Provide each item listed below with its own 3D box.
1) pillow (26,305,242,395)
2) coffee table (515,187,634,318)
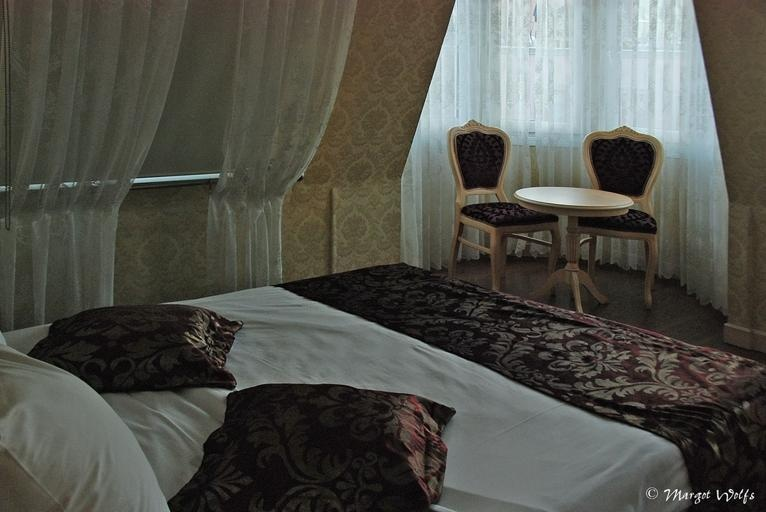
[{"bbox_3d":[-0.802,0.312,1.887,0.403,0.108,0.410,-1,13,-15],"label":"pillow"},{"bbox_3d":[1.312,-0.041,3.985,0.761,0.698,0.784,4,-2,19],"label":"coffee table"}]
